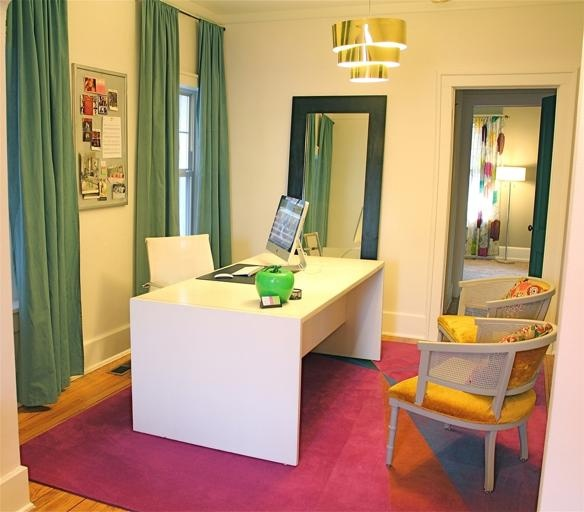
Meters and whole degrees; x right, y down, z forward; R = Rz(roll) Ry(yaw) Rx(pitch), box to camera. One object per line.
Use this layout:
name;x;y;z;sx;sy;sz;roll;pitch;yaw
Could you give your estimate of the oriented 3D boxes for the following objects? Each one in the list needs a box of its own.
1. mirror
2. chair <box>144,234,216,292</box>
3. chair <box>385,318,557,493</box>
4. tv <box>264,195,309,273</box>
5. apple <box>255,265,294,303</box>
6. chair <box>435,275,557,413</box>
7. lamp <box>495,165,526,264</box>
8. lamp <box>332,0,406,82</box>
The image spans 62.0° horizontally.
mirror;0.407;-0.744;4.567;0.892;1.474;0.132;5;10;23
chair;-0.869;-0.038;3.792;0.433;0.702;0.427;-6;10;-42
chair;0.887;0.703;2.556;0.738;0.792;0.807;-2;8;-3
tv;-0.011;-0.149;3.441;0.210;0.538;0.495;5;9;-22
apple;-0.094;0.129;2.619;0.174;0.199;0.173;8;10;33
chair;1.450;0.412;3.555;0.719;1.165;1.003;2;5;19
lamp;3.609;-0.708;8.122;0.456;1.579;0.450;6;11;26
lamp;0.449;-1.165;2.775;0.403;0.328;0.419;8;14;36
